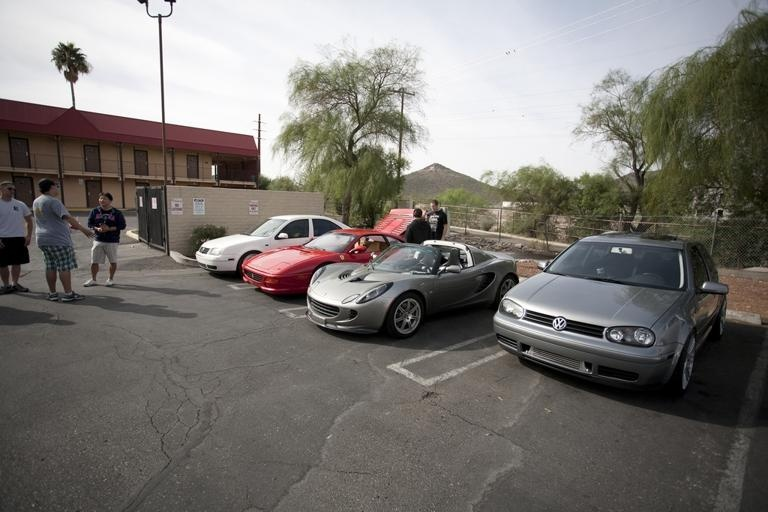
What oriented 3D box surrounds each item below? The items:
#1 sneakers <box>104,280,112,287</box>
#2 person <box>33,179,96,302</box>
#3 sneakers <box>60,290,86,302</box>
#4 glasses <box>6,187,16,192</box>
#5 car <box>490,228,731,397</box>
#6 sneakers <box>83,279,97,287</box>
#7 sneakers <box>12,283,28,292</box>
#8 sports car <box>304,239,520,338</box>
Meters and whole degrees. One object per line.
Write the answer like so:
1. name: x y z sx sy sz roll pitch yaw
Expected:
1. sneakers: -6.264 0.651 10.048 0.093 0.106 0.219 2 2 -14
2. person: -6.581 -0.290 8.974 0.731 2.477 1.318 -9 17 -39
3. sneakers: -6.235 0.869 8.895 0.417 0.223 0.155 -6 13 -42
4. glasses: -7.473 -1.343 8.890 0.129 0.125 0.145 0 0 4
5. car: 3.326 0.884 6.722 3.015 1.964 2.045 -4 14 -27
6. sneakers: -6.711 0.645 10.020 0.338 0.171 0.131 0 7 -41
7. sneakers: -7.571 0.720 9.225 0.280 0.131 0.108 22 14 -4
8. sports car: 0.544 0.597 8.403 3.958 1.493 1.262 -4 14 -27
